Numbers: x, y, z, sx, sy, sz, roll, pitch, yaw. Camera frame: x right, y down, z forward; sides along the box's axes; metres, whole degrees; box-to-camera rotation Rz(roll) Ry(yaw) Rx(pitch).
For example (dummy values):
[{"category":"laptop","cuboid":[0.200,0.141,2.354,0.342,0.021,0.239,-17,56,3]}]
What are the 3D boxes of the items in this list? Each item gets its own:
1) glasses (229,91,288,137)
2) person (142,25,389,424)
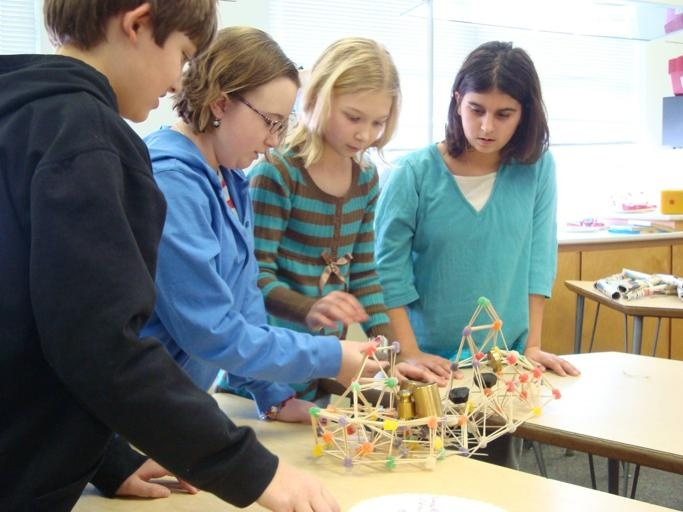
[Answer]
[{"category":"glasses","cuboid":[-0.172,-0.287,1.200,0.080,0.025,0.080,40,12,20]},{"category":"person","cuboid":[-0.223,-0.120,1.539,0.710,1.049,0.608,1,5,0]}]
